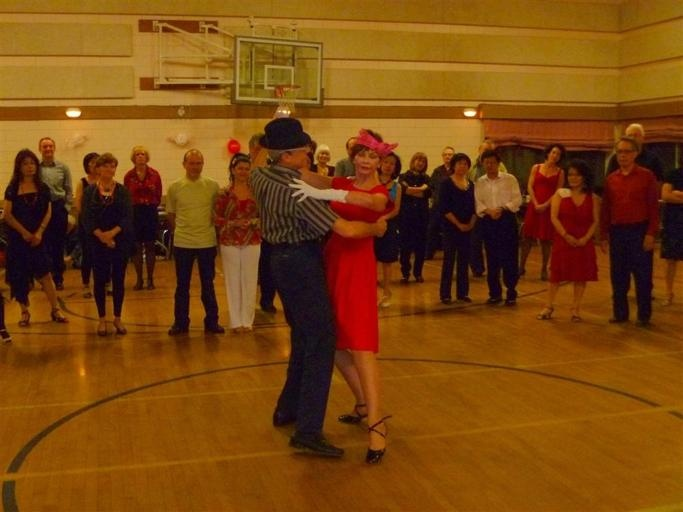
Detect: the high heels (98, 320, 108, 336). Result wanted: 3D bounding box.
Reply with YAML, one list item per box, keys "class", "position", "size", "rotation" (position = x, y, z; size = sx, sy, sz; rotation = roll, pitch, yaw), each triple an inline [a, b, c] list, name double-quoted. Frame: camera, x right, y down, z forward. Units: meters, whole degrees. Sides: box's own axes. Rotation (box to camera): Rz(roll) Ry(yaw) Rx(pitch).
- class: "high heels"
  position: [-2.378, 0.713, 5.994]
  size: [0.078, 0.082, 0.220]
  rotation: [-2, 9, -19]

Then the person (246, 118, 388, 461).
- class: "person"
  position: [-0.199, 0.156, 3.400]
  size: [0.509, 1.860, 0.577]
  rotation: [-3, 8, -20]

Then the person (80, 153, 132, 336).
- class: "person"
  position: [-2.261, 0.000, 5.882]
  size: [0.450, 1.578, 0.429]
  rotation: [-4, 8, -24]

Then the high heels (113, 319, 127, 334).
- class: "high heels"
  position: [-2.212, 0.707, 6.001]
  size: [0.085, 0.107, 0.258]
  rotation: [-1, 2, -35]

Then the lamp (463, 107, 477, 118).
- class: "lamp"
  position: [2.894, -3.197, 13.434]
  size: [0.359, 0.180, 0.153]
  rotation: [-4, 8, -27]

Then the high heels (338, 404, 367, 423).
- class: "high heels"
  position: [0.087, 0.993, 3.788]
  size: [0.231, 0.102, 0.081]
  rotation: [1, -2, 5]

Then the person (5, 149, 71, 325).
- class: "person"
  position: [-3.226, -0.176, 6.280]
  size: [0.528, 1.846, 0.498]
  rotation: [-4, 8, -25]

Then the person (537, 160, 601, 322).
- class: "person"
  position: [2.410, -0.157, 6.341]
  size: [0.562, 1.659, 0.399]
  rotation: [2, 8, 21]

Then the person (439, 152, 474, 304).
- class: "person"
  position: [1.413, -0.336, 7.289]
  size: [0.410, 1.812, 0.508]
  rotation: [4, 8, 32]

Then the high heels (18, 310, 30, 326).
- class: "high heels"
  position: [-3.412, 0.685, 6.509]
  size: [0.096, 0.125, 0.289]
  rotation: [0, -7, -21]

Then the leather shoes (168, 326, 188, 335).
- class: "leather shoes"
  position: [-1.617, 0.745, 6.021]
  size: [0.204, 0.083, 0.077]
  rotation: [11, -10, -43]

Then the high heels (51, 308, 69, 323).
- class: "high heels"
  position: [-3.123, 0.661, 6.580]
  size: [0.106, 0.171, 0.311]
  rotation: [-2, -4, -45]

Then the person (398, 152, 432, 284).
- class: "person"
  position: [1.085, -0.567, 8.864]
  size: [0.461, 1.903, 1.064]
  rotation: [0, 7, 8]

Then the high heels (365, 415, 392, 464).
- class: "high heels"
  position: [0.189, 0.994, 3.279]
  size: [0.093, 0.114, 0.284]
  rotation: [-19, 13, 18]

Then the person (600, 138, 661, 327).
- class: "person"
  position: [2.883, -0.244, 6.039]
  size: [0.507, 1.881, 0.324]
  rotation: [3, 8, 25]

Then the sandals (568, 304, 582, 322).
- class: "sandals"
  position: [2.494, 0.630, 6.434]
  size: [0.097, 0.078, 0.376]
  rotation: [-1, -15, 7]

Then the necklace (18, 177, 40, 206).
- class: "necklace"
  position: [-3.227, -0.677, 6.204]
  size: [0.135, 0.240, 0.059]
  rotation: [4, -8, -17]

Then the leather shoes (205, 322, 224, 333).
- class: "leather shoes"
  position: [-1.279, 0.727, 6.075]
  size: [0.199, 0.088, 0.093]
  rotation: [-3, -3, 34]

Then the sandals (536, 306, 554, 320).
- class: "sandals"
  position: [2.234, 0.624, 6.517]
  size: [0.234, 0.183, 0.083]
  rotation: [3, -2, -9]

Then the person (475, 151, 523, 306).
- class: "person"
  position: [1.880, -0.348, 7.279]
  size: [0.546, 1.838, 0.374]
  rotation: [1, 7, 17]
